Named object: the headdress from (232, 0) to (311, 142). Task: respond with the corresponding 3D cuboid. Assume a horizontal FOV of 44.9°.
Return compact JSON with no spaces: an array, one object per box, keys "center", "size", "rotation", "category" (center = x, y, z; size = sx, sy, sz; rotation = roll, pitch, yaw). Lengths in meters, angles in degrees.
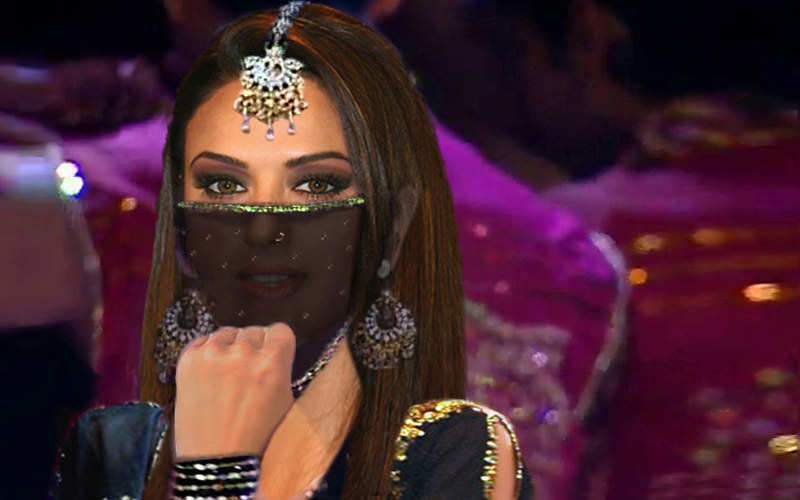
[{"center":[-0.897,-1.181,6.830],"size":[0.479,0.820,0.252],"rotation":[8,2,34],"category":"headdress"}]
